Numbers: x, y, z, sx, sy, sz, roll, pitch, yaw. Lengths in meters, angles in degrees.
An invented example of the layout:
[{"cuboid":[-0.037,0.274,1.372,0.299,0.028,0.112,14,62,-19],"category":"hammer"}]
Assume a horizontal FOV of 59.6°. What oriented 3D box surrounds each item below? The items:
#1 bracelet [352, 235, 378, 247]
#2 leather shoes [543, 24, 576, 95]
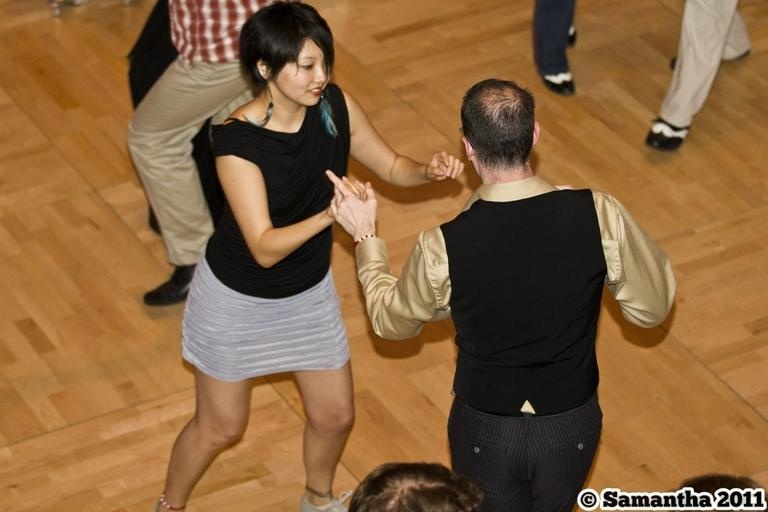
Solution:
[{"cuboid":[-0.076,-0.055,2.402,0.048,0.046,0.011,-18,76,-40],"category":"bracelet"},{"cuboid":[1.321,-1.495,5.114,0.195,0.606,0.250,-7,0,9],"category":"leather shoes"}]
